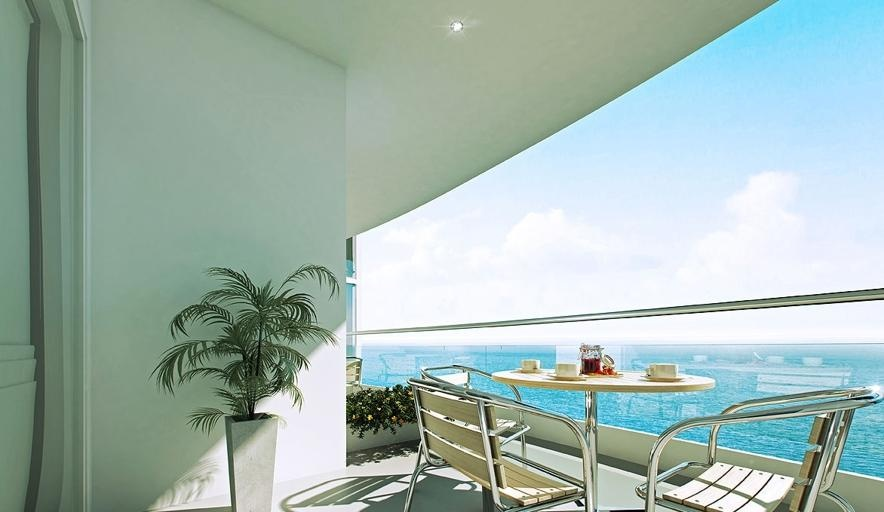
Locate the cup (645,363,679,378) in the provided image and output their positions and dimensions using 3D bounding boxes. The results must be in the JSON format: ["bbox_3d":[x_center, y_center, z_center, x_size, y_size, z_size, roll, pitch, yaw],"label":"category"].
[{"bbox_3d":[1.662,0.886,4.019,0.185,0.117,0.214,-1,-4,7],"label":"cup"}]

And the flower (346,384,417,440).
[{"bbox_3d":[-0.709,1.683,5.795,0.764,0.366,0.727,-3,5,-30],"label":"flower"}]

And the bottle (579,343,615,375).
[{"bbox_3d":[1.215,0.850,4.246,0.300,0.267,0.200,0,-8,8],"label":"bottle"}]

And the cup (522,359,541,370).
[{"bbox_3d":[0.737,0.919,4.408,0.108,0.059,0.093,-2,-6,4],"label":"cup"}]

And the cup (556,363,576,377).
[{"bbox_3d":[0.936,0.874,3.998,0.127,0.071,0.111,-3,-7,7],"label":"cup"}]
